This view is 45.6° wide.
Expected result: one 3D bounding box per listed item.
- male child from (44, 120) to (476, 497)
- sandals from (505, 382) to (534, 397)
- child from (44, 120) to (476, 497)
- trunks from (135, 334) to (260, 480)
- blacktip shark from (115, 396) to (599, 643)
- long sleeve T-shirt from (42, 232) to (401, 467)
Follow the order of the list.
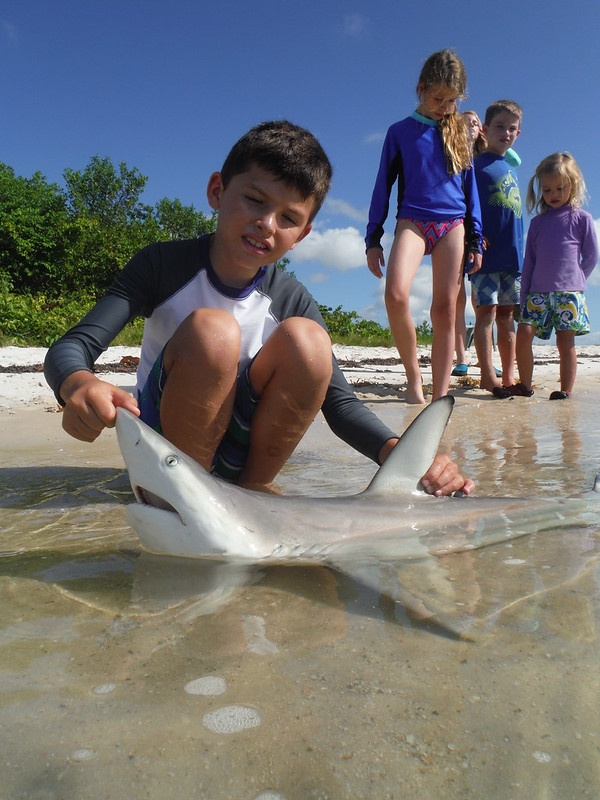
[{"bbox_3d":[-0.137,-0.154,2.219,1.254,1.325,0.737,9,-7,-24],"label":"male child"},{"bbox_3d":[1.581,-0.058,5.172,0.256,0.095,0.089,11,-16,-33],"label":"sandals"},{"bbox_3d":[-0.136,-0.161,2.221,1.211,1.295,0.731,9,-5,-22],"label":"child"},{"bbox_3d":[-0.262,0.038,2.062,0.300,0.178,0.468,7,-23,-10],"label":"trunks"},{"bbox_3d":[0.268,0.173,1.597,1.072,0.309,0.746,-5,8,-40],"label":"blacktip shark"},{"bbox_3d":[-0.202,-0.177,2.214,1.160,0.694,0.664,10,-3,-26],"label":"long sleeve T-shirt"}]
